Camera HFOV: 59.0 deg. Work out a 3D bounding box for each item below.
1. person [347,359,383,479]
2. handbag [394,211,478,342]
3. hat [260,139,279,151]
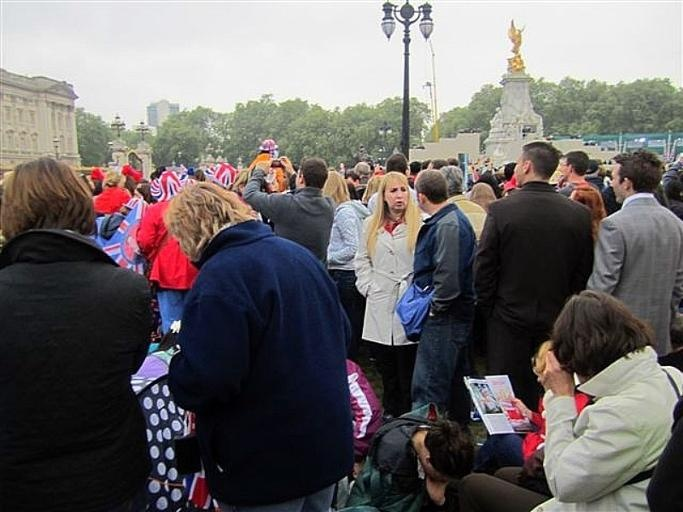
[{"bbox_3d":[0.183,1.253,4.798,0.290,0.774,0.669,16,-10,10],"label":"person"},{"bbox_3d":[0.877,0.100,5.915,0.909,1.608,1.261,2,1,12],"label":"handbag"},{"bbox_3d":[-0.810,-1.217,6.743,0.243,0.125,0.331,1,9,-4],"label":"hat"}]
